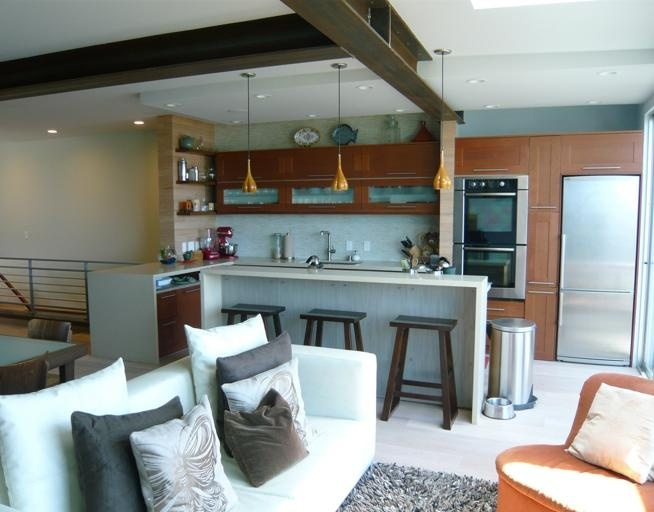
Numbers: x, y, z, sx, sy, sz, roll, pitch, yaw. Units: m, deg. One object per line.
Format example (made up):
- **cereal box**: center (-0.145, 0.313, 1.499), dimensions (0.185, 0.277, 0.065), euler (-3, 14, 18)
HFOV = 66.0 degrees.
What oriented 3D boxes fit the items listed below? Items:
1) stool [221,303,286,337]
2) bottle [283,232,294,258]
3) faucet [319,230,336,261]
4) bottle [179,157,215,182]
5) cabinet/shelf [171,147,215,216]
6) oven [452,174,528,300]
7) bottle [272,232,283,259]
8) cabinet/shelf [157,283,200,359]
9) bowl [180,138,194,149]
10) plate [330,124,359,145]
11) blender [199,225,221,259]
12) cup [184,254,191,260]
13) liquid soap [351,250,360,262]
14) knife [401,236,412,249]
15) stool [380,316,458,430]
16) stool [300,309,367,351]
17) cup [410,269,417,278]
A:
- **stool**: center (-0.696, 0.699, 4.929), dimensions (0.467, 0.457, 0.360), euler (0, -3, 12)
- **bottle**: center (-0.565, -0.151, 7.392), dimensions (0.128, 0.360, 0.170), euler (-2, 9, -11)
- **faucet**: center (0.011, -0.164, 7.263), dimensions (0.236, 0.421, 0.109), euler (7, 11, 40)
- **bottle**: center (-1.799, -1.177, 7.183), dimensions (0.172, 0.286, 0.586), euler (-1, -2, 23)
- **cabinet/shelf**: center (-1.918, -1.066, 7.144), dimensions (0.308, 0.957, 1.039), euler (1, 2, 13)
- **oven**: center (2.124, -0.264, 6.410), dimensions (0.905, 1.524, 0.783), euler (5, 14, 32)
- **bottle**: center (-0.728, -0.153, 7.479), dimensions (0.164, 0.367, 0.239), euler (-1, 8, -7)
- **cabinet/shelf**: center (-1.693, 0.717, 5.651), dimensions (0.331, 0.805, 0.865), euler (0, 3, 17)
- **bowl**: center (-1.921, -1.539, 6.948), dimensions (0.146, 0.154, 0.152), euler (0, 12, 0)
- **plate**: center (0.245, -1.664, 6.889), dimensions (0.436, 0.359, 0.112), euler (3, -2, 10)
- **blender**: center (-1.735, -0.199, 7.488), dimensions (0.316, 0.424, 0.599), euler (-2, 8, -12)
- **cup**: center (-1.930, 0.009, 7.002), dimensions (0.083, 0.067, 0.082), euler (2, 8, 0)
- **liquid soap**: center (0.399, 0.000, 7.032), dimensions (0.142, 0.195, 0.143), euler (2, 3, 33)
- **knife**: center (1.066, -0.190, 6.885), dimensions (0.142, 0.166, 0.121), euler (-20, 8, 3)
- **stool**: center (0.843, 0.972, 4.474), dimensions (0.652, 0.880, 0.553), euler (2, 9, 15)
- **stool**: center (0.075, 0.616, 4.687), dimensions (0.540, 0.516, 0.421), euler (-1, -3, 20)
- **cup**: center (0.779, 0.158, 4.520), dimensions (0.078, 0.108, 0.060), euler (2, 3, 21)
